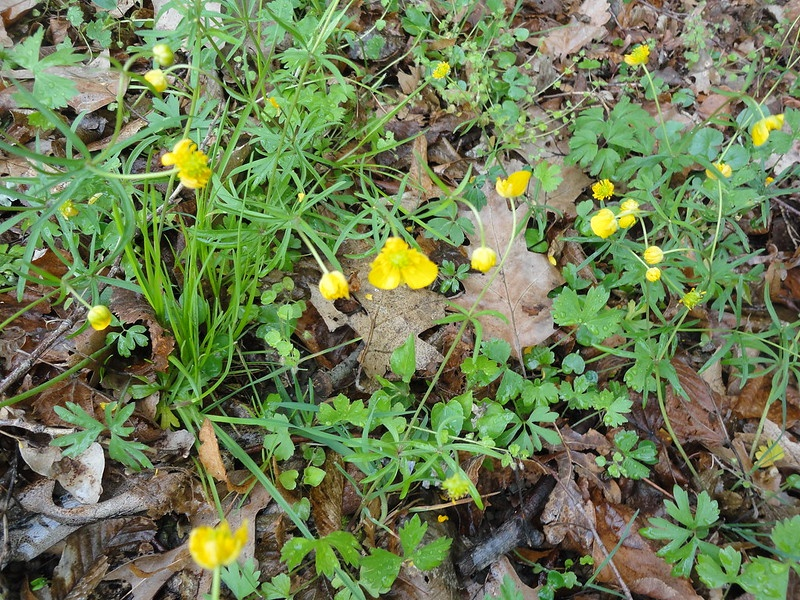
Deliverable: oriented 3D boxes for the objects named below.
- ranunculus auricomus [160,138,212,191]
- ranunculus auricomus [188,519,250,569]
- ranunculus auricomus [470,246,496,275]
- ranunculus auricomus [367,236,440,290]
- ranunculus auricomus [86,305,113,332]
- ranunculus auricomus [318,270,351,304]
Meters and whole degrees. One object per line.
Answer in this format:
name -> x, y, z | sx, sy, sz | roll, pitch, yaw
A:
ranunculus auricomus -> -0.891, -0.533, 2.867 | 0.213, 0.084, 0.179 | 40, 61, -17
ranunculus auricomus -> -0.639, 0.871, 2.429 | 0.183, 0.131, 0.146 | -8, 68, -13
ranunculus auricomus -> 0.376, -0.179, 3.034 | 0.114, 0.123, 0.118 | -28, 116, -40
ranunculus auricomus -> 0.009, -0.119, 2.932 | 0.259, 0.239, 0.202 | 28, 65, 3
ranunculus auricomus -> -1.310, 0.081, 3.002 | 0.079, 0.132, 0.094 | -1, 66, -9
ranunculus auricomus -> -0.292, -0.059, 2.938 | 0.108, 0.136, 0.122 | -14, 69, -14
